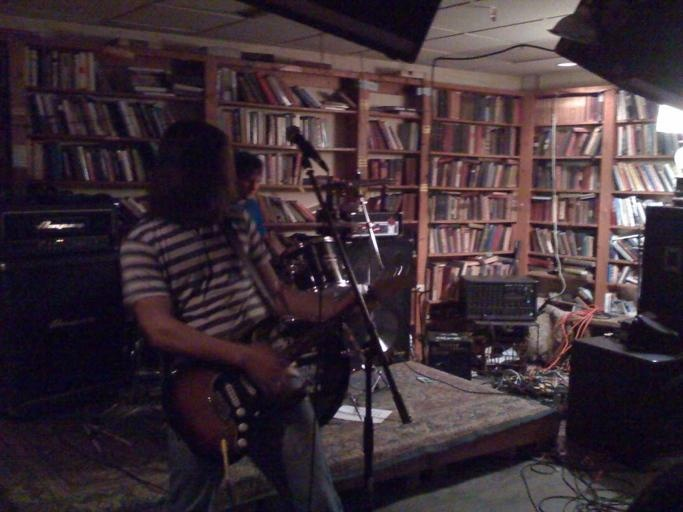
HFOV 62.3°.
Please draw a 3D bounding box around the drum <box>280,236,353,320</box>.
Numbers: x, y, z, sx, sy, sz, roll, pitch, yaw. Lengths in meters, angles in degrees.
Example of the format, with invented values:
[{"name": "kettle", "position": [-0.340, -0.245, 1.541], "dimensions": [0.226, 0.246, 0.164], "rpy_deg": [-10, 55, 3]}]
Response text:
[{"name": "drum", "position": [-0.117, 0.089, 2.429], "dimensions": [0.387, 0.308, 0.370], "rpy_deg": [1, 4, 0]}]
